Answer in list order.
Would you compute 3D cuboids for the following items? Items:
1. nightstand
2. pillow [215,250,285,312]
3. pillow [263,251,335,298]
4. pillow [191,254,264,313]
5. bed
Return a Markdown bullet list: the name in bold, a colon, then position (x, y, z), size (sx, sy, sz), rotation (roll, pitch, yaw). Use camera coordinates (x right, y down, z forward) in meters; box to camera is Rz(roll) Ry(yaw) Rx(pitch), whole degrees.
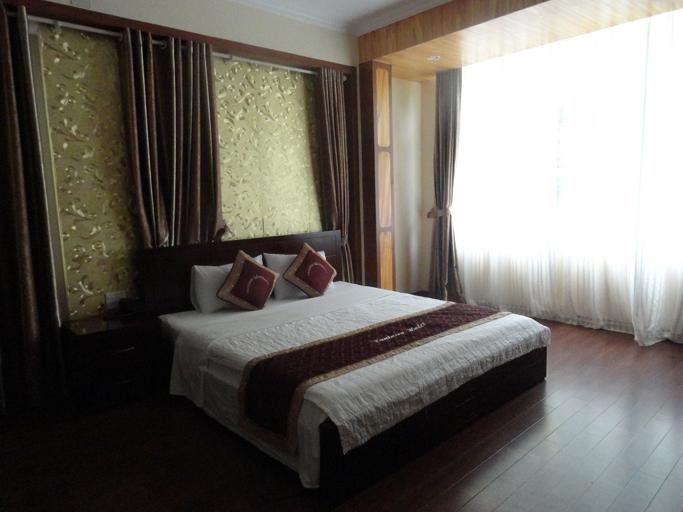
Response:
- **nightstand**: position (-1.988, 0.806, 4.295), size (0.627, 0.787, 0.684), rotation (6, 10, 41)
- **pillow**: position (-0.886, 0.236, 4.584), size (0.514, 0.517, 0.154), rotation (27, -12, -18)
- **pillow**: position (-0.593, 0.185, 5.008), size (0.447, 0.450, 0.135), rotation (21, -24, -28)
- **pillow**: position (-1.084, 0.280, 4.586), size (0.426, 0.470, 0.159), rotation (5, -11, -31)
- **bed**: position (-0.296, 0.799, 3.917), size (2.224, 1.042, 2.132), rotation (-11, 14, -42)
